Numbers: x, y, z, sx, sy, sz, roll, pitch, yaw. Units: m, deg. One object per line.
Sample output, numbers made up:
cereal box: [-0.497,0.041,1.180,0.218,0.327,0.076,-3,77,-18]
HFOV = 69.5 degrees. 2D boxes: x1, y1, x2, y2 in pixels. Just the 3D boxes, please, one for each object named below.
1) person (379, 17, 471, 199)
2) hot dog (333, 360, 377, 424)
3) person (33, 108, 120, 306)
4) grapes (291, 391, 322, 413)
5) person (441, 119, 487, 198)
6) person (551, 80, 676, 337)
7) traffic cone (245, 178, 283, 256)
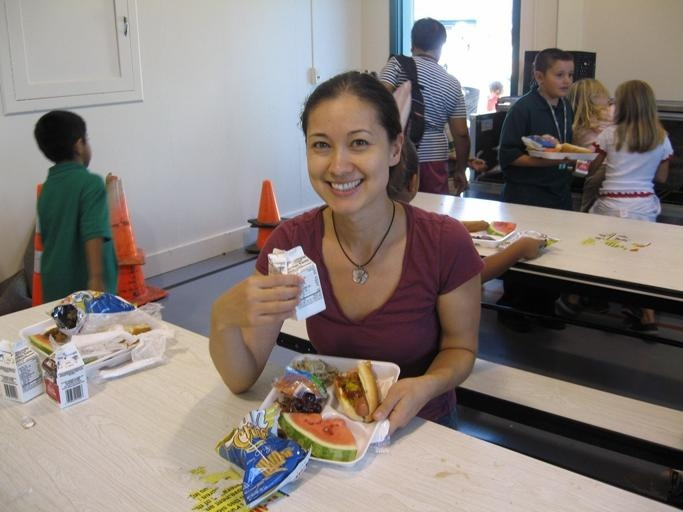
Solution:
person: [0.748,-1.086,4.661,0.910,2.180,0.481,21,41,28]
hot dog: [0.048,0.385,1.417,0.134,0.061,0.189,-4,34,11]
person: [-1.516,-0.262,2.702,0.431,1.027,0.637,-12,19,-25]
grapes: [-0.101,0.404,1.351,0.056,0.032,0.073,-2,5,2]
person: [1.214,-0.954,4.823,0.286,0.312,0.931,-17,-4,21]
person: [2.379,-0.538,4.177,0.591,1.788,0.576,6,30,26]
traffic cone: [-0.840,-0.433,5.503,0.630,0.736,0.591,-4,12,-35]
